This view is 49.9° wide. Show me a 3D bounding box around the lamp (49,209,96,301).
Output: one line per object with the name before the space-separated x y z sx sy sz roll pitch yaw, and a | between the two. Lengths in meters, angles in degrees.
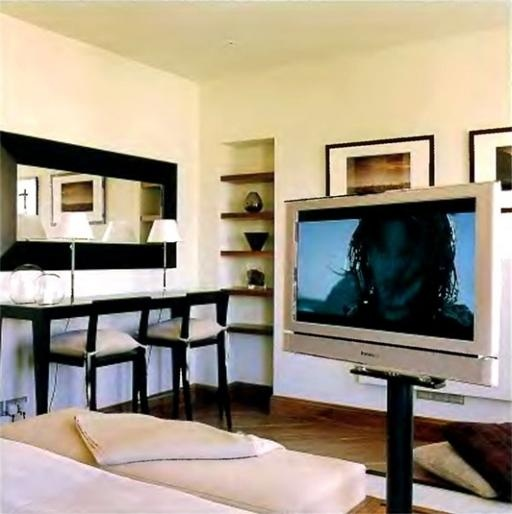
lamp | -1.034 -0.017 3.122 0.214 0.460 0.348 1 0 -18

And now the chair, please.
chair | -0.675 0.561 3.123 0.306 0.705 0.813 3 0 34

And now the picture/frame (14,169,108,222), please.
picture/frame | -1.100 -0.339 3.162 0.056 0.297 0.596 2 0 31

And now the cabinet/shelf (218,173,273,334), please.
cabinet/shelf | -0.067 -0.041 4.021 0.420 1.195 0.402 1 0 4
